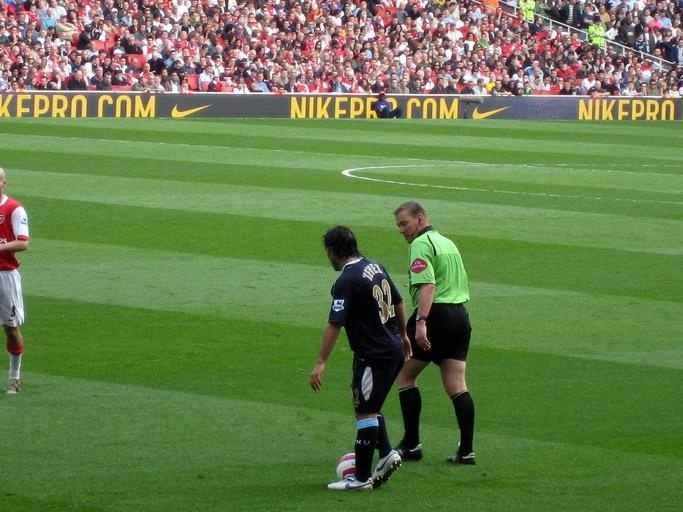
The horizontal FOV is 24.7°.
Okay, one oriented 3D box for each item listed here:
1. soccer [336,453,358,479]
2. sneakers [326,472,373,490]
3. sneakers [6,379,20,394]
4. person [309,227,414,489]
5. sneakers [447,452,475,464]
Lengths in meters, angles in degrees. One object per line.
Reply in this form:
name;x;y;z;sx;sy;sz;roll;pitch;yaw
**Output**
soccer;0.063;2.367;17.497;0.287;0.262;0.221;3;21;-16
sneakers;0.100;2.523;17.472;0.526;0.179;0.176;2;-10;-1
sneakers;-3.968;1.580;19.008;0.175;0.167;0.171;0;11;-11
person;0.235;1.141;17.458;1.080;2.859;0.831;3;12;2
sneakers;1.394;2.323;17.923;0.340;0.124;0.114;4;0;9
